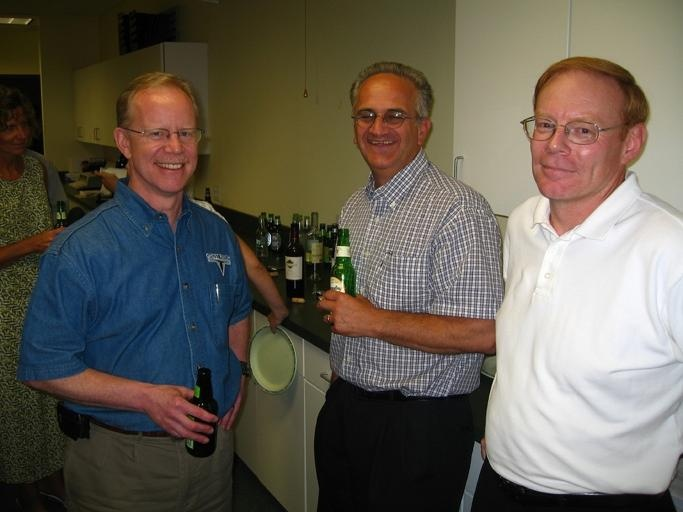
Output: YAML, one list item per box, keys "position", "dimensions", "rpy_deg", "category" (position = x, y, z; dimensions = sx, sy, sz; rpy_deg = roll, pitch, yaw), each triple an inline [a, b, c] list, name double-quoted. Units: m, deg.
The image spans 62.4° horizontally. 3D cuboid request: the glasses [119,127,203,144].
- position: [-0.547, -0.376, 1.745]
  dimensions: [0.246, 0.047, 0.150]
  rpy_deg: [-4, 13, -26]
  category: "glasses"
